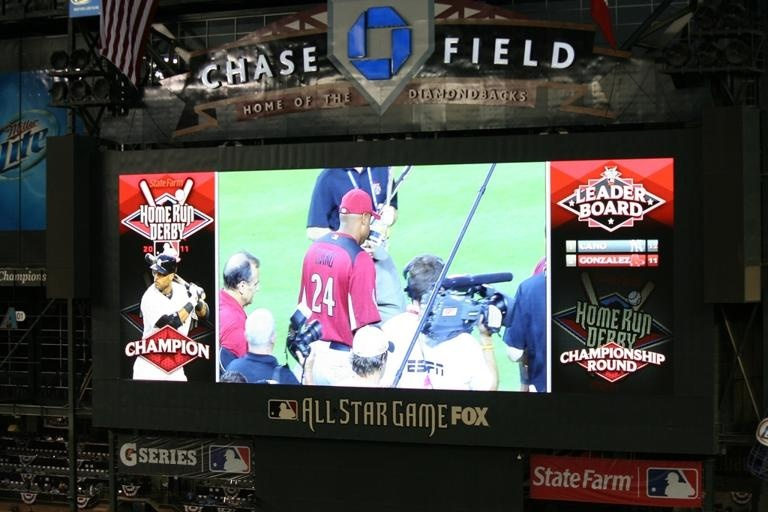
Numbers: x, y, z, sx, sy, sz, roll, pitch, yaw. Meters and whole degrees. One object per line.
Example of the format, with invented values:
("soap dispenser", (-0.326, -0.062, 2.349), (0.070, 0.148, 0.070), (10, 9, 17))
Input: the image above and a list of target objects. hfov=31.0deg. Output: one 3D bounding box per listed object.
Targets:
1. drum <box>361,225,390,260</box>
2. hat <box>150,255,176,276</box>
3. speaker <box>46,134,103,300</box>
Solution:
("drum", (-0.165, -0.290, 29.772), (0.504, 0.704, 0.296), (38, -2, 7))
("hat", (-4.877, 0.189, 30.465), (0.510, 0.248, 0.381), (4, -2, -27))
("speaker", (-6.897, -0.863, 30.636), (1.197, 3.543, 0.404), (-1, 1, -13))
